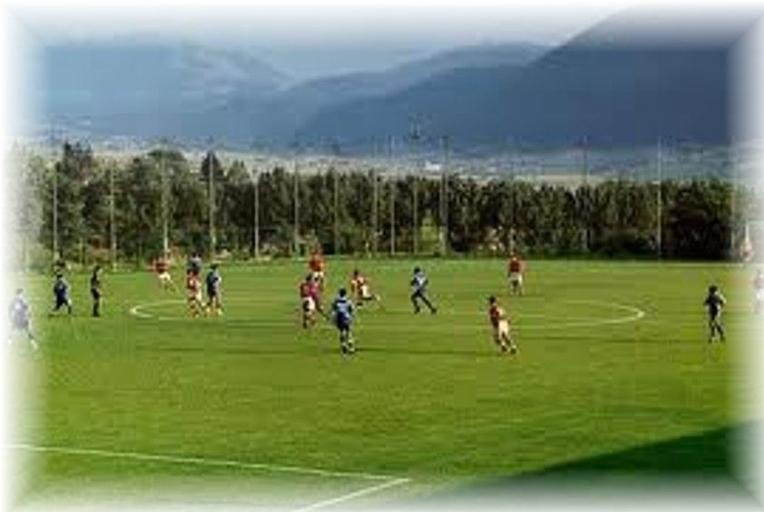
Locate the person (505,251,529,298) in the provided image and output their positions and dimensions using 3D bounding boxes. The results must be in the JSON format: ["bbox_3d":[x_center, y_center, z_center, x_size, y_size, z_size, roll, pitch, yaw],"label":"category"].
[{"bbox_3d":[8.719,1.259,68.267,0.929,2.893,1.095,0,15,-3],"label":"person"}]

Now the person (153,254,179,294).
[{"bbox_3d":[-14.351,1.275,70.463,1.200,2.251,0.573,7,25,36],"label":"person"}]
